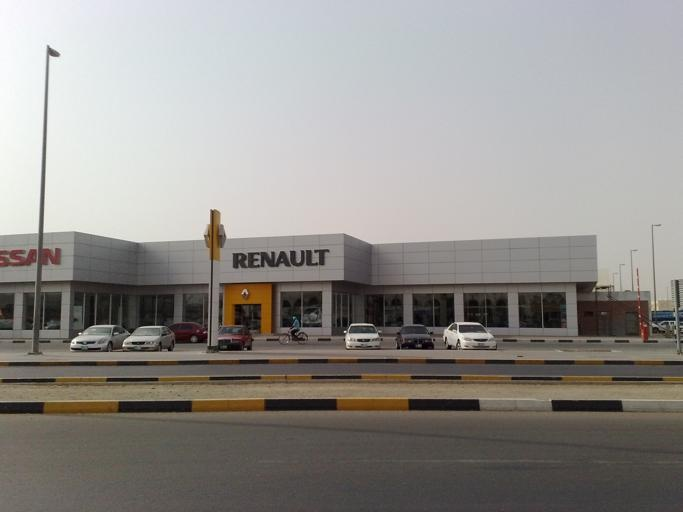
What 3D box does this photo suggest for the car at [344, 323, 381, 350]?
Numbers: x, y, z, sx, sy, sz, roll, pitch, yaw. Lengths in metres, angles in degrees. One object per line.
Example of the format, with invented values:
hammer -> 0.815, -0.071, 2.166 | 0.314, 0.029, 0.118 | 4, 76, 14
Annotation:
car -> 0.984, 3.809, 33.229 | 1.537, 0.896, 2.533 | -1, -1, 0

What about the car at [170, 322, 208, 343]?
car -> -8.836, 4.525, 41.578 | 2.357, 0.695, 0.960 | 3, -3, 8

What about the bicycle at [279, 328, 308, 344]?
bicycle -> -2.485, 4.421, 38.153 | 1.818, 1.009, 0.890 | -3, 2, -5

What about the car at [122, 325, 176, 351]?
car -> -8.688, 3.826, 32.661 | 1.133, 0.686, 2.234 | -3, -11, 3

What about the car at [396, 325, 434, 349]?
car -> 3.328, 3.797, 32.514 | 1.524, 0.862, 2.182 | -1, -1, 2

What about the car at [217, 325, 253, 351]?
car -> -4.830, 3.769, 32.253 | 1.520, 1.016, 2.162 | -1, -1, -9

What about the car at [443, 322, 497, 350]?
car -> 5.839, 3.725, 32.385 | 1.832, 1.191, 3.294 | -1, -1, -2
